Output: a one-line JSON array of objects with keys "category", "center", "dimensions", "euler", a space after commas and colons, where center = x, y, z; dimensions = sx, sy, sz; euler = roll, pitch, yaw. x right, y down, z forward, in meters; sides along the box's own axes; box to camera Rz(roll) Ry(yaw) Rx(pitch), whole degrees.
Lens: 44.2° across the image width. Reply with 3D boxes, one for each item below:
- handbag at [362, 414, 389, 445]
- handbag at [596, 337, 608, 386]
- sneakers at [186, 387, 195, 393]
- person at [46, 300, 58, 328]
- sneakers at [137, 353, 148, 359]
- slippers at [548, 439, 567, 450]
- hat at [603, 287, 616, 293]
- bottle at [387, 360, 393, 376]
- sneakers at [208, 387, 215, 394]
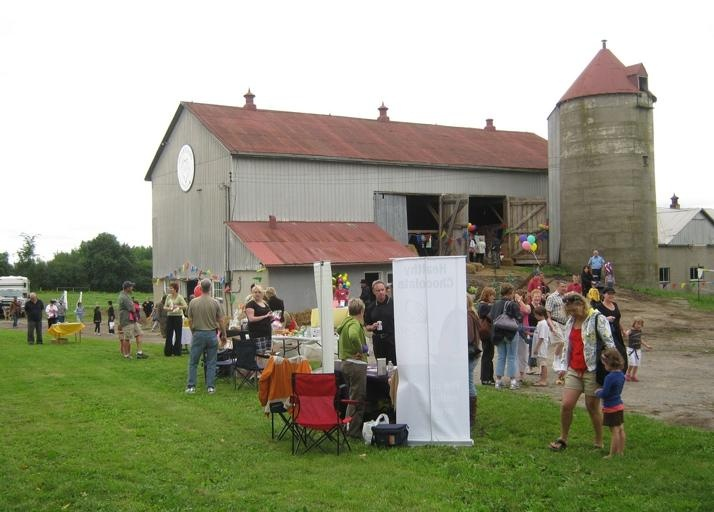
[{"category": "handbag", "center": [0.400, 3.347, 17.057], "dimensions": [0.350, 0.645, 0.542], "euler": [2, 3, 38]}, {"category": "handbag", "center": [4.400, 1.912, 15.822], "dimensions": [0.172, 0.832, 0.188], "euler": [-2, 6, -20]}, {"category": "sneakers", "center": [-3.697, 2.980, 19.570], "dimensions": [0.243, 0.115, 0.253], "euler": [-3, 7, -21]}, {"category": "person", "center": [-11.149, 2.179, 32.195], "dimensions": [0.350, 0.938, 1.564], "euler": [-2, 7, -19]}, {"category": "sneakers", "center": [-5.706, 2.631, 23.248], "dimensions": [0.315, 0.185, 0.144], "euler": [2, -2, -8]}, {"category": "slippers", "center": [3.693, 3.468, 16.179], "dimensions": [0.281, 0.156, 0.163], "euler": [4, -4, -9]}, {"category": "hat", "center": [5.572, 0.767, 19.481], "dimensions": [0.271, 0.171, 0.369], "euler": [-2, -2, 3]}, {"category": "bottle", "center": [0.663, 2.274, 17.705], "dimensions": [0.127, 0.400, 0.146], "euler": [1, -12, 2]}, {"category": "sneakers", "center": [-3.250, 2.995, 19.573], "dimensions": [0.078, 0.164, 0.134], "euler": [-1, -8, 4]}]
